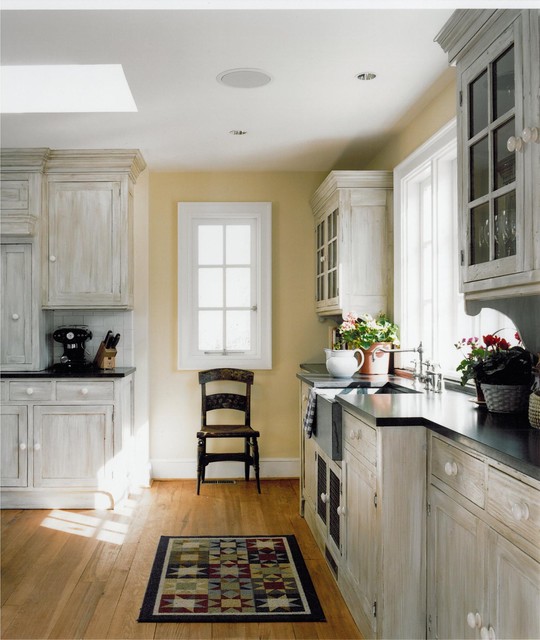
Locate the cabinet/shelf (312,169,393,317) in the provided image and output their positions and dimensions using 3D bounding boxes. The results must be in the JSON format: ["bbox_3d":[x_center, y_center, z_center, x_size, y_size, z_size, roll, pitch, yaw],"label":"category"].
[{"bbox_3d":[0.570,-0.505,3.666,0.353,0.970,1.055,0,-3,0],"label":"cabinet/shelf"}]

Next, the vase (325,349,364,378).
[{"bbox_3d":[0.452,0.268,3.288,0.192,0.150,0.157,2,-8,-4],"label":"vase"}]

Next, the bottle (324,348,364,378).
[{"bbox_3d":[0.455,0.264,3.289,0.192,0.150,0.157,2,-8,-5],"label":"bottle"}]

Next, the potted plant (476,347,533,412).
[{"bbox_3d":[0.785,0.204,1.905,0.172,0.218,0.210,-1,-2,8],"label":"potted plant"}]

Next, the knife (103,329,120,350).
[{"bbox_3d":[-1.172,0.134,4.087,0.084,0.165,0.043,5,-23,-16],"label":"knife"}]

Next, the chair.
[{"bbox_3d":[-0.311,0.823,4.189,0.474,0.878,0.533,0,-1,-2],"label":"chair"}]

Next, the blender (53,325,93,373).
[{"bbox_3d":[-1.458,0.179,4.022,0.233,0.268,0.259,11,7,27],"label":"blender"}]

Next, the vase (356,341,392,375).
[{"bbox_3d":[0.659,0.238,3.356,0.168,0.151,0.188,1,-5,2],"label":"vase"}]

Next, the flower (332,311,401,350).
[{"bbox_3d":[0.602,0.077,3.404,0.248,0.137,0.257,2,1,-32],"label":"flower"}]
